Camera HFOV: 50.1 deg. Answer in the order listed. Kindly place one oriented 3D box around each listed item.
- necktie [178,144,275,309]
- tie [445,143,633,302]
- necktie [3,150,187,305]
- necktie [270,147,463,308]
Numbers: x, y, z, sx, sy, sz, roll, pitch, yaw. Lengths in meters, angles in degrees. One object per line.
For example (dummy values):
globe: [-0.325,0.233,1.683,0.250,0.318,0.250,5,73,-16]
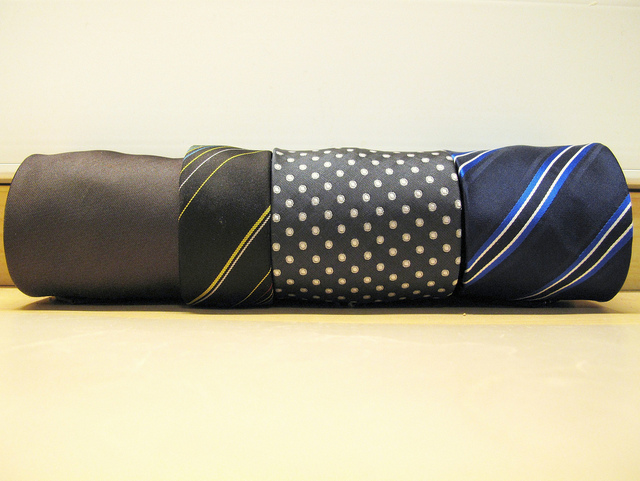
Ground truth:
necktie: [-0.152,-0.020,1.340,0.197,0.402,0.283,1,0,-1]
tie: [0.377,0.002,1.277,0.297,0.307,0.251,1,-16,2]
necktie: [-0.384,-0.018,1.264,0.276,0.235,0.226,1,-4,-2]
necktie: [0.083,-0.014,1.156,0.276,0.272,0.247,0,5,-3]
